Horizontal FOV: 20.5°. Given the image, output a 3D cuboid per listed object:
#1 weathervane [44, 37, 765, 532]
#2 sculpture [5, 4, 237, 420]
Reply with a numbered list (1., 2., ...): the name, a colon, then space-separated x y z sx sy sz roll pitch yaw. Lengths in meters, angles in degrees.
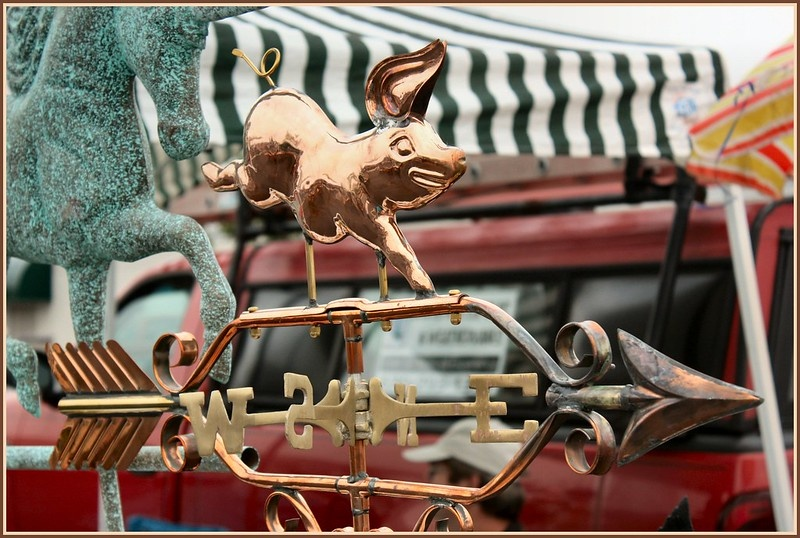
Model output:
1. weathervane: 0.139 0.272 7.760 1.641 1.892 1.355 -6 -5 29
2. sculpture: -0.970 -0.401 7.480 0.521 1.688 0.568 -6 14 -27
